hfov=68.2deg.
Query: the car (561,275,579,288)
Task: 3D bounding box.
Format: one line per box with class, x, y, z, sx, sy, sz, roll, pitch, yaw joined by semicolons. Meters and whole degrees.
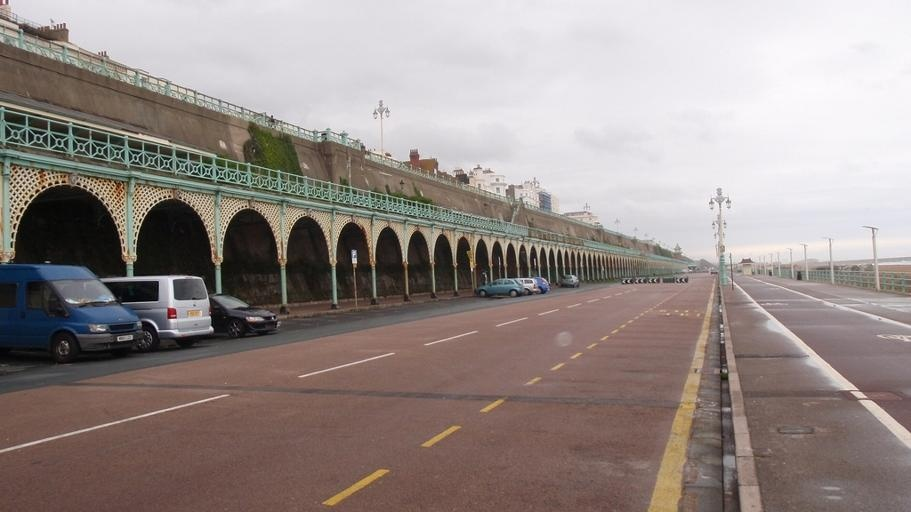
car;14.042;3.022;81.974;1.415;1.035;2.263;1;8;25
